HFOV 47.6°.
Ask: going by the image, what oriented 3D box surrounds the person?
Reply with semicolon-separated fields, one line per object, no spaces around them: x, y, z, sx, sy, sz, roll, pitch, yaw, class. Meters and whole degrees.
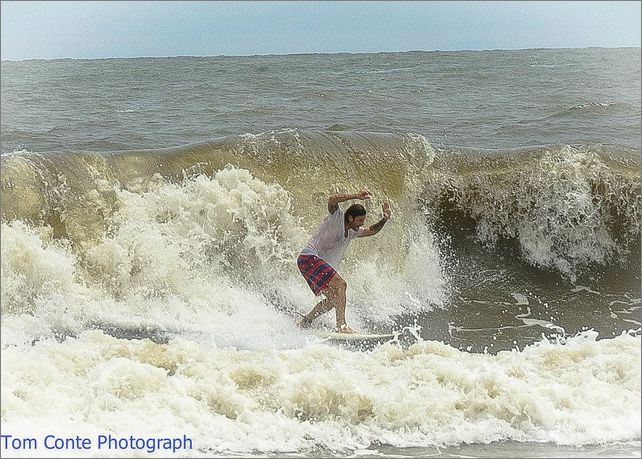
0.152;0.413;8.952;0.849;1.917;0.461;5;19;2;person
